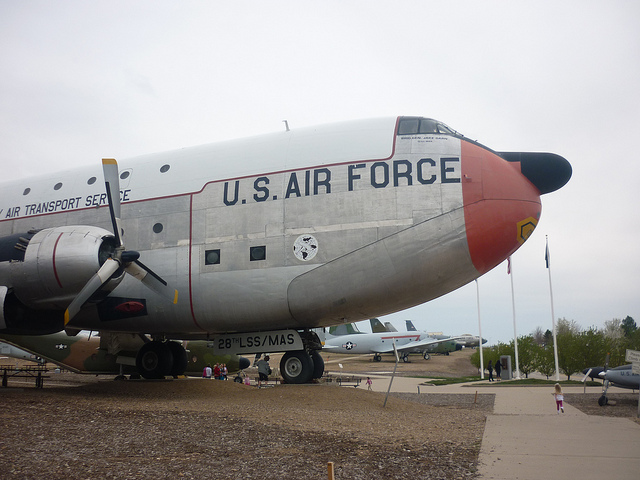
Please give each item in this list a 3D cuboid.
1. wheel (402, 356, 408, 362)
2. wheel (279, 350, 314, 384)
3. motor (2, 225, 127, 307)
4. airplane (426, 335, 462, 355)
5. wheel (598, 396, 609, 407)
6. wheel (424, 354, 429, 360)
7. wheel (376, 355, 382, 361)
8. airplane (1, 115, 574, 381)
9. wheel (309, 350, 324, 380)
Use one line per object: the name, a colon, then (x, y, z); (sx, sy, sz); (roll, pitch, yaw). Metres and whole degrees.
wheel: (10.262, 14.591, 72.148); (0.830, 0.782, 0.288); (-5, -9, -3)
wheel: (-0.854, 4.855, 22.584); (1.334, 1.264, 0.457); (-8, -12, 16)
motor: (-9.075, 0.983, 20.367); (3.519, 2.920, 0.788); (3, -4, 9)
airplane: (16.472, 14.091, 77.067); (3.439, 1.598, 3.335); (-1, 1, 2)
wheel: (11.392, 6.556, 24.175); (0.313, 0.418, 0.973); (2, -3, 24)
wheel: (13.503, 15.124, 76.315); (0.849, 0.799, 0.312); (-7, -8, 0)
wheel: (7.407, 15.186, 75.927); (0.260, 0.745, 0.779); (-5, -11, 36)
airplane: (-2.055, -0.116, 21.104); (13.948, 5.245, 13.737); (-1, 2, 21)
wheel: (-0.093, 4.890, 23.261); (0.248, 0.921, 0.953); (-7, 18, 34)
